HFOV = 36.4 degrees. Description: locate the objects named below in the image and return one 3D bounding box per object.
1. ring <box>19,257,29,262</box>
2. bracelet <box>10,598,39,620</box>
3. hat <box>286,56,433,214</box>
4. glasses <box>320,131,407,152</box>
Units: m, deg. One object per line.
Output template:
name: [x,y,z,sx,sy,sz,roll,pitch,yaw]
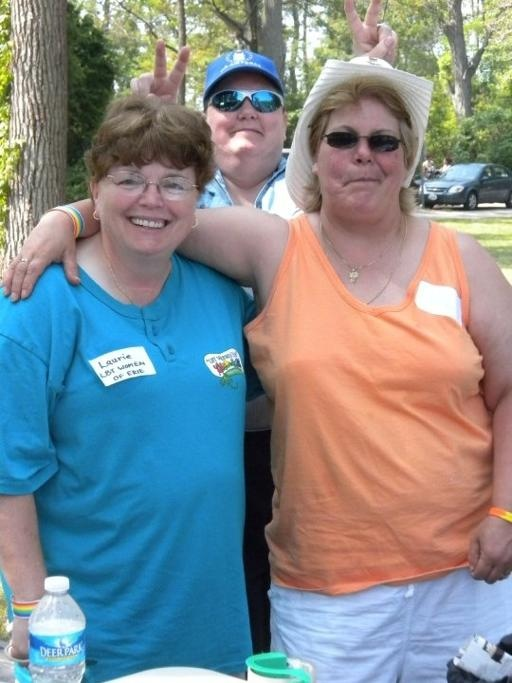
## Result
ring: [-0.662,-0.238,2.228,0.020,0.010,0.026,-2,6,-23]
bracelet: [-0.624,0.717,2.101,0.070,0.043,0.063,0,-14,-6]
hat: [0.313,-0.782,2.753,0.486,0.602,0.181,6,44,-8]
glasses: [0.334,-0.636,2.478,0.242,0.068,0.092,3,12,3]
